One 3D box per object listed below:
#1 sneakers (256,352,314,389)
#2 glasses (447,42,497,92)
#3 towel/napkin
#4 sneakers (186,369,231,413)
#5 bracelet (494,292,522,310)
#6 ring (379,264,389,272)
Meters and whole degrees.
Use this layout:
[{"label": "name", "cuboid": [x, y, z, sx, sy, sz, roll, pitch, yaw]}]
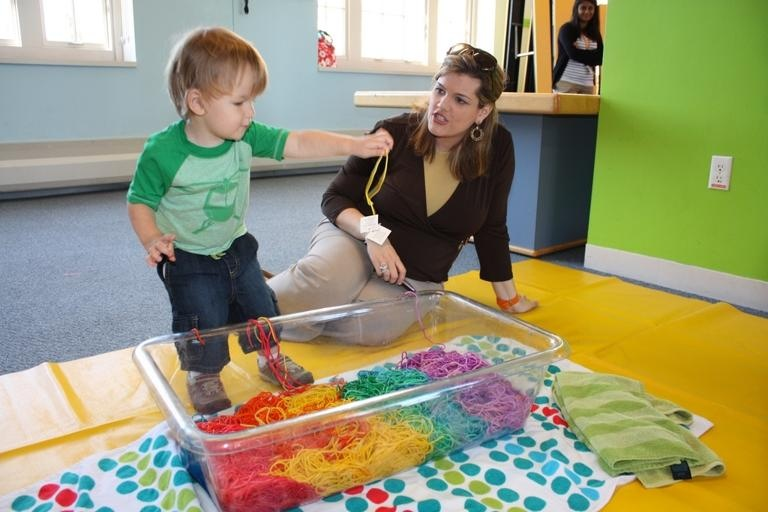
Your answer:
[{"label": "sneakers", "cuboid": [-0.351, 0.359, 1.703, 0.207, 0.089, 0.084, 19, 31, 13]}, {"label": "glasses", "cuboid": [0.341, -0.710, 1.921, 0.225, 0.181, 0.137, 3, 20, 13]}, {"label": "towel/napkin", "cuboid": [0.775, 0.512, 1.567, 0.414, 0.141, 0.393, -1, 20, 0]}, {"label": "sneakers", "cuboid": [-0.524, 0.402, 1.519, 0.082, 0.065, 0.142, -7, 24, -35]}, {"label": "bracelet", "cuboid": [0.552, 0.192, 2.240, 0.104, 0.044, 0.053, -15, 27, -14]}, {"label": "ring", "cuboid": [0.003, 0.041, 1.889, 0.024, 0.032, 0.022, 0, -5, 0]}]
